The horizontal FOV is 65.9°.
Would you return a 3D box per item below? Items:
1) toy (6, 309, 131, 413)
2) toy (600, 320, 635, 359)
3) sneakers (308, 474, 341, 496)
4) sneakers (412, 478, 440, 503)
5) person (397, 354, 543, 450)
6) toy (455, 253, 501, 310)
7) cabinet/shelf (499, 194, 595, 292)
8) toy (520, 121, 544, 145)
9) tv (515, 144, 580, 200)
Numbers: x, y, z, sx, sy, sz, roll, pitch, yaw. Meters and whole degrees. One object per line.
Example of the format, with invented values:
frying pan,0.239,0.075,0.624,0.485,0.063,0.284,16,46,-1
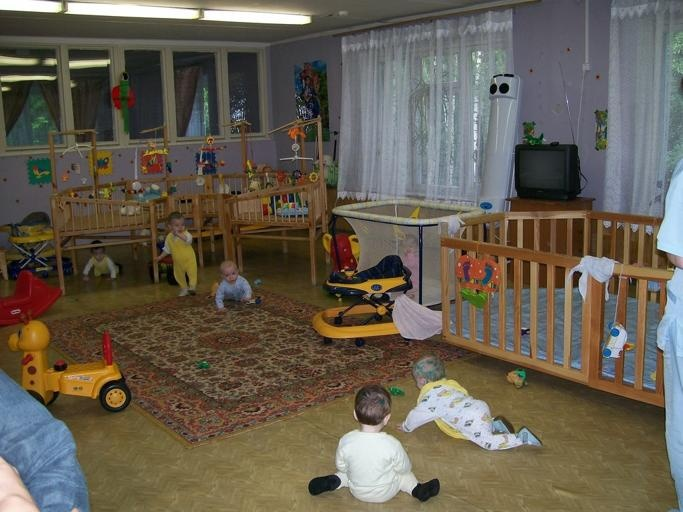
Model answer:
toy,-1.786,0.710,3.698,0.949,0.690,0.481,2,11,-5
toy,1.650,0.506,3.187,0.110,0.222,0.110,3,16,18
sneakers,-0.089,1.141,2.656,0.161,0.081,0.062,-10,-5,-22
sneakers,0.422,1.152,2.596,0.157,0.070,0.071,-28,21,-3
person,0.684,0.884,3.077,0.775,0.366,0.427,24,49,29
toy,1.009,0.193,3.868,0.153,0.387,0.365,-10,16,-26
cabinet/shelf,1.862,-0.112,4.729,0.628,0.928,0.942,-8,11,-39
toy,2.358,-1.524,6.487,0.264,0.257,0.535,3,15,18
tv,2.352,-0.947,5.969,0.365,0.563,0.633,-8,10,-42
